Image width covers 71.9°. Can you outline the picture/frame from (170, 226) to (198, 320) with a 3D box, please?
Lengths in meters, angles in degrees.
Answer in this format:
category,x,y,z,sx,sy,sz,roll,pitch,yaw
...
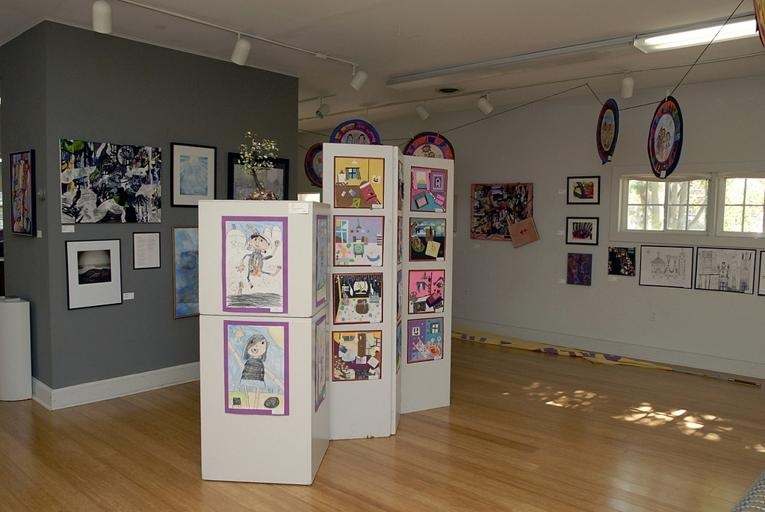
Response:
category,x,y,z,sx,sy,sz,roll,pitch,yaw
picture/frame,-2.504,0.218,6.765,0.366,1.151,0.195,-7,15,-29

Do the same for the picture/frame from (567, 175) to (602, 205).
category,x,y,z,sx,sy,sz,roll,pitch,yaw
picture/frame,3.182,-1.051,8.290,0.447,0.443,0.020,4,7,34

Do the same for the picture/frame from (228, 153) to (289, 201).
category,x,y,z,sx,sy,sz,roll,pitch,yaw
picture/frame,-1.633,-1.047,6.877,0.925,0.789,0.075,-1,2,-42

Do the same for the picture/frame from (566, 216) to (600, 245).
category,x,y,z,sx,sy,sz,roll,pitch,yaw
picture/frame,3.175,-0.408,8.313,0.425,0.425,0.029,4,6,31

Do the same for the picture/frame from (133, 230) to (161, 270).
category,x,y,z,sx,sy,sz,roll,pitch,yaw
picture/frame,-2.877,-0.080,6.468,0.024,0.651,0.459,8,7,43

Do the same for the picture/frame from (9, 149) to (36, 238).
category,x,y,z,sx,sy,sz,roll,pitch,yaw
picture/frame,-4.167,-0.758,6.180,0.105,1.498,1.038,0,0,-39

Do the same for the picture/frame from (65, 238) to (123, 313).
category,x,y,z,sx,sy,sz,roll,pitch,yaw
picture/frame,-3.356,0.212,6.134,0.803,1.137,0.039,-4,3,-40
